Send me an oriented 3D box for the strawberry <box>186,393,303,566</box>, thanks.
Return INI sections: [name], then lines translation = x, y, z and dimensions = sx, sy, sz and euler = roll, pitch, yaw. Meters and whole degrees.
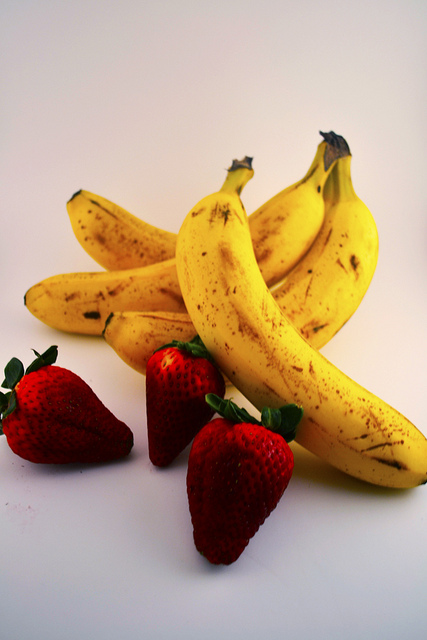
[strawberry]
translation = 0.036, 0.243, 1.016
dimensions = 0.151, 0.220, 0.138
euler = 7, 18, -1
